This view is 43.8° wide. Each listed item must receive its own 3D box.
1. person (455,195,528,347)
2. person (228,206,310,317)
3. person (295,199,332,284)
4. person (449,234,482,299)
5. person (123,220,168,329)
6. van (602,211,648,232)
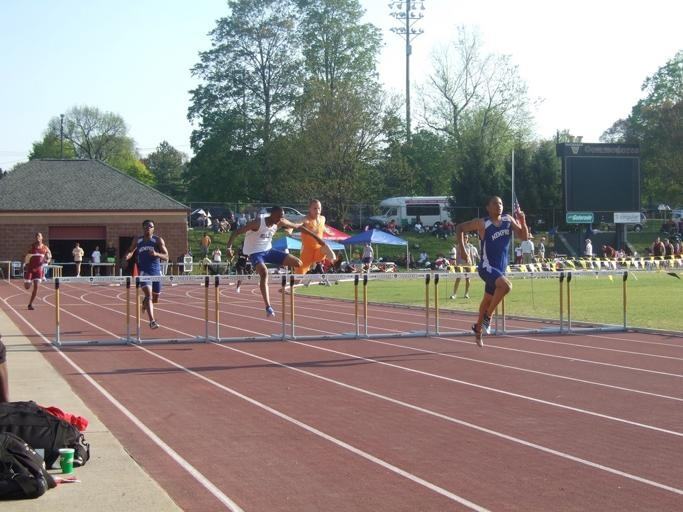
[{"bbox_3d":[2.216,0.219,12.606,0.799,2.260,1.166,2,-3,-26],"label":"person"},{"bbox_3d":[-1.186,0.070,13.756,0.783,2.027,0.987,0,0,-42],"label":"person"},{"bbox_3d":[-0.453,-0.297,14.870,0.533,1.700,0.477,7,10,41],"label":"person"},{"bbox_3d":[3.321,0.361,22.854,0.724,2.082,0.811,-2,10,-37],"label":"person"},{"bbox_3d":[-3.071,0.200,14.328,0.764,1.926,0.977,0,0,-37],"label":"person"},{"bbox_3d":[15.908,-1.977,47.978,2.613,1.188,1.419,0,4,1],"label":"van"}]
